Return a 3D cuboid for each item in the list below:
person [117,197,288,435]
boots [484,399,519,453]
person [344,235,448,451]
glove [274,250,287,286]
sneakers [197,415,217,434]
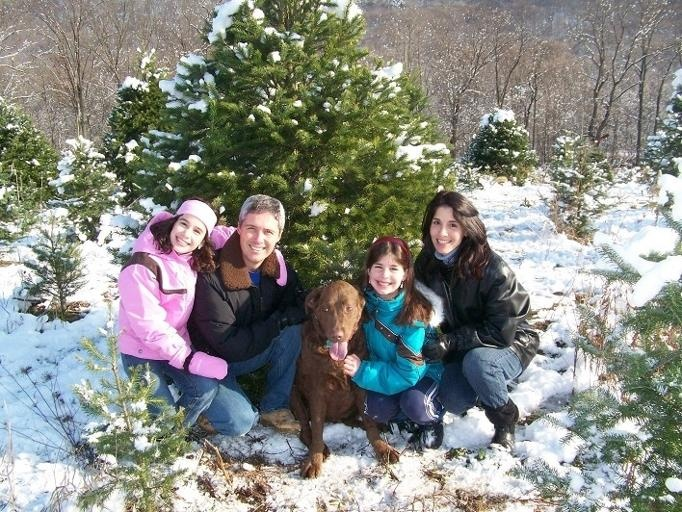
[{"bbox_3d":[-1.879,0.754,7.683,1.473,2.763,0.880,-3,14,-10],"label":"person"},{"bbox_3d":[1.890,1.962,7.669,0.396,0.531,0.255,0,14,4],"label":"boots"},{"bbox_3d":[0.677,1.008,7.690,1.084,2.432,0.574,1,14,8],"label":"person"},{"bbox_3d":[-0.723,0.141,7.984,0.239,0.364,0.132,0,-2,-36],"label":"glove"},{"bbox_3d":[-1.635,2.043,8.028,0.166,0.226,0.077,-37,1,20],"label":"sneakers"}]
